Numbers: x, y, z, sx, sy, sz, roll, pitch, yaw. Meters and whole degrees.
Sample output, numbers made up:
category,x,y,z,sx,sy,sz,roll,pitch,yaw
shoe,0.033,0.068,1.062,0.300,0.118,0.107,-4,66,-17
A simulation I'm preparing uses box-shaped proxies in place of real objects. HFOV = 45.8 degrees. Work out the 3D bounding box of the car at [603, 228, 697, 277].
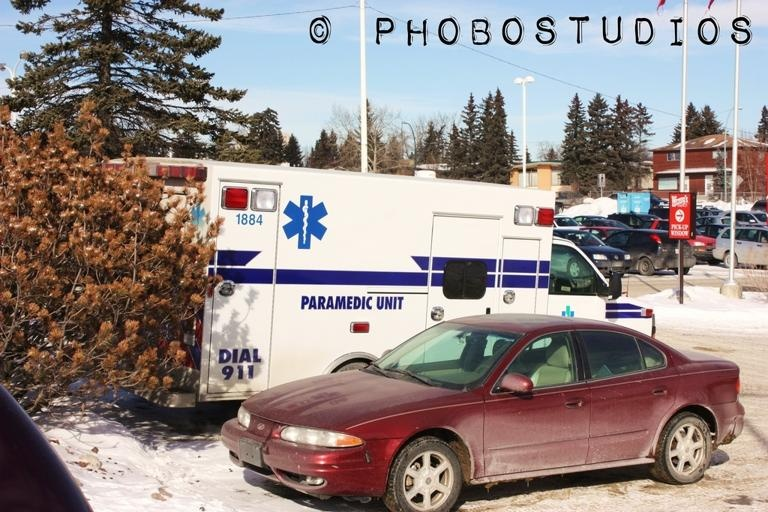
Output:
category,x,y,z,sx,sy,sz,roll,pitch,yaw
car,9.386,-0.208,32.322,2.236,1.970,5.189,2,0,-22
